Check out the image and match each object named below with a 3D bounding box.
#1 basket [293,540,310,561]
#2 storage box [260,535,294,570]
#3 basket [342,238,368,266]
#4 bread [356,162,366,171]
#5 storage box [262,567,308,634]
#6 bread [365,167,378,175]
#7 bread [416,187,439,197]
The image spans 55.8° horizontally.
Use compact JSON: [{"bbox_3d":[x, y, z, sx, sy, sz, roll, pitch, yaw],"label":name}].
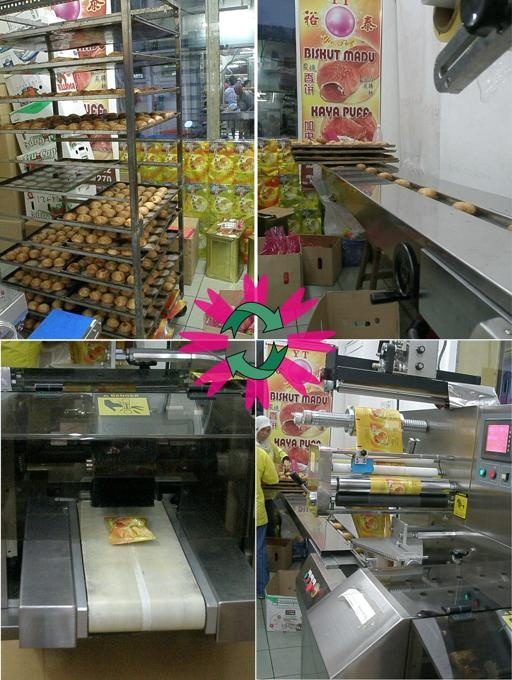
[{"bbox_3d":[0.239,1.218,2.765,0.084,0.085,0.182,-5,-2,0],"label":"basket"},{"bbox_3d":[0.120,1.202,2.730,0.161,0.148,0.154,0,1,5],"label":"storage box"},{"bbox_3d":[0.309,-0.290,1.586,0.092,0.094,0.090,-1,2,-10],"label":"basket"},{"bbox_3d":[0.348,-0.587,1.638,0.041,0.020,0.040,3,37,-1],"label":"bread"},{"bbox_3d":[0.122,1.305,2.458,0.187,0.174,0.378,-5,-2,2],"label":"storage box"},{"bbox_3d":[0.376,-0.557,1.594,0.038,0.024,0.044,6,16,2],"label":"bread"},{"bbox_3d":[0.427,-0.377,1.221,0.039,0.021,0.031,19,26,36],"label":"bread"}]
